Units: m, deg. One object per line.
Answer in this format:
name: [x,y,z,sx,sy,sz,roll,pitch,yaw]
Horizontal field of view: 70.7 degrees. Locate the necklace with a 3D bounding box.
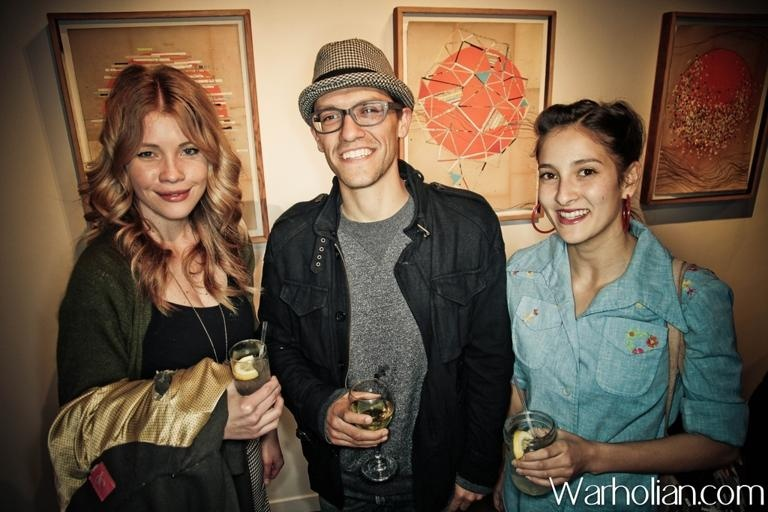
necklace: [-0.953,0.281,2.752,0.193,0.721,0.023,-19,-11,-42]

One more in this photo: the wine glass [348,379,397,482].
wine glass: [-0.049,0.865,2.632,0.204,0.591,0.249,-3,10,0]

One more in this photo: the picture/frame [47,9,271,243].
picture/frame: [-1.300,-0.757,2.991,1.096,1.528,0.058,-14,18,-11]

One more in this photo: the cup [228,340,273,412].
cup: [-0.638,0.546,2.563,0.176,0.202,0.188,-3,23,1]

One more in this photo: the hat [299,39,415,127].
hat: [-0.170,-0.932,2.695,0.428,0.263,0.492,-10,-27,7]
